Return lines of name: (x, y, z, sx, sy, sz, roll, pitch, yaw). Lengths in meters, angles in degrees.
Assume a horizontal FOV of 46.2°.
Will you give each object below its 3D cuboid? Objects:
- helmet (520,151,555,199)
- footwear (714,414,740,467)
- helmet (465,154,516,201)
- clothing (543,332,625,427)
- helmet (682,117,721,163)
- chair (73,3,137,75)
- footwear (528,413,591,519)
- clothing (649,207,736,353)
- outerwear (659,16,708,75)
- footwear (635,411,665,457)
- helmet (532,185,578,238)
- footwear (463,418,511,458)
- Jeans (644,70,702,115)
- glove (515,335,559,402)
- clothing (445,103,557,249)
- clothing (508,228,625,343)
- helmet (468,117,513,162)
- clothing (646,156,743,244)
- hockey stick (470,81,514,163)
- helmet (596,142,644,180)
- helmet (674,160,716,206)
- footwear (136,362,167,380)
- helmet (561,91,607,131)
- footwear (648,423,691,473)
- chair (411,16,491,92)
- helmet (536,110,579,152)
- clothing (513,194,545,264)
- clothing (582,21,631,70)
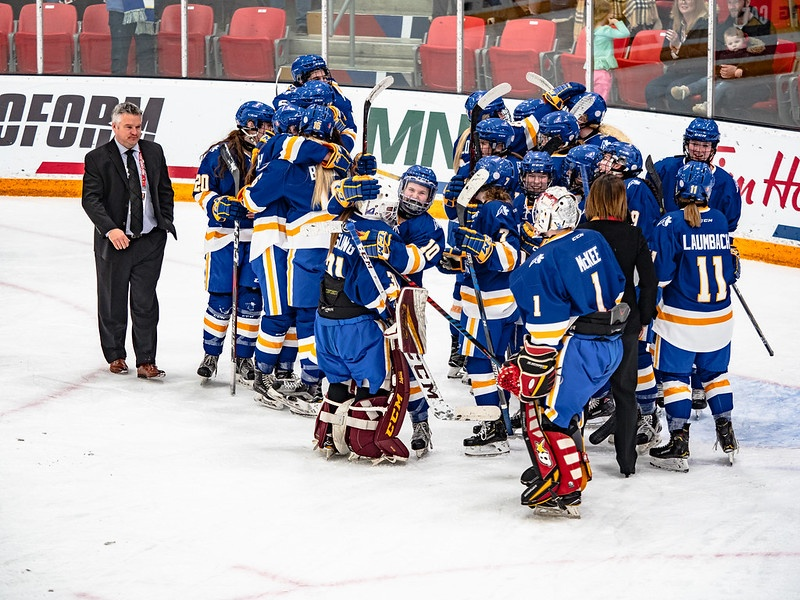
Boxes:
helmet: (0.879, -0.811, 6.028, 0.240, 0.292, 0.308, 2, 25, 5)
footwear: (1.979, 0.850, 5.711, 0.109, 0.315, 0.158, -4, -8, 29)
helmet: (0.596, -0.746, 5.959, 0.242, 0.240, 0.281, -17, 12, -22)
clothing: (1.012, 0.383, 5.058, 0.315, 0.534, 0.414, 17, 29, 26)
helmet: (2.052, -1.099, 6.378, 0.266, 0.304, 0.316, 3, 21, 16)
chair: (-3.978, -3.363, 12.159, 0.825, 1.044, 0.903, -1, 10, -9)
footwear: (0.810, 0.822, 4.935, 0.392, 0.626, 0.352, -3, -10, -4)
clothing: (1.807, -0.128, 5.740, 0.541, 0.888, 0.228, 3, 7, 7)
outerwear: (3.051, -2.737, 10.003, 0.558, 0.637, 0.413, 15, 21, 32)
footwear: (1.597, 0.846, 5.987, 0.141, 0.181, 0.412, -12, 4, 26)
helmet: (0.837, -0.474, 4.945, 0.278, 0.258, 0.218, 2, 12, 5)
footwear: (0.544, 0.846, 5.830, 0.272, 0.204, 0.208, 2, 6, 1)
Jeans: (2.952, -2.239, 10.044, 0.522, 0.370, 0.187, -21, -20, 13)
glove: (0.699, 0.345, 4.805, 0.258, 0.292, 0.121, 8, 9, 16)
clothing: (0.662, -0.871, 6.614, 0.389, 0.937, 0.714, 6, 11, -15)
clothing: (0.898, -0.081, 4.876, 0.579, 0.389, 0.293, -29, 27, -18)
helmet: (0.645, -1.119, 6.437, 0.300, 0.264, 0.220, 7, 11, -7)
clothing: (2.133, -0.757, 6.609, 0.560, 0.703, 0.264, 4, 2, 13)
hockey stick: (0.720, -1.162, 6.662, 0.267, 0.854, 0.081, -21, 41, -8)
helmet: (1.467, -0.918, 6.102, 0.383, 0.226, 0.155, -3, 8, -40)
helmet: (1.786, -0.724, 5.739, 0.214, 0.259, 0.258, 5, -18, 10)
footwear: (-1.855, 0.537, 6.940, 0.237, 0.094, 0.092, -4, -4, 35)
helmet: (1.362, -1.441, 6.954, 0.304, 0.275, 0.223, 18, 30, 0)
footwear: (1.635, 0.880, 5.639, 0.226, 0.262, 0.200, 4, 7, 16)
chair: (0.636, -2.940, 11.332, 0.904, 0.785, 0.537, 5, 24, 14)
helmet: (1.147, -1.220, 6.746, 0.336, 0.288, 0.247, 0, 29, 8)
clothing: (0.839, -0.486, 6.182, 0.179, 0.416, 0.328, -2, 4, 2)
clothing: (2.271, -2.869, 10.448, 0.426, 0.604, 0.470, -12, 30, -7)
